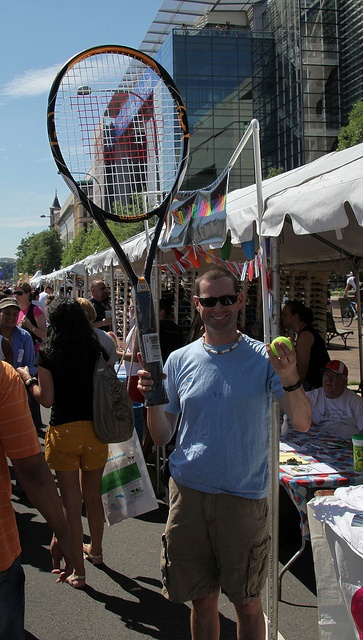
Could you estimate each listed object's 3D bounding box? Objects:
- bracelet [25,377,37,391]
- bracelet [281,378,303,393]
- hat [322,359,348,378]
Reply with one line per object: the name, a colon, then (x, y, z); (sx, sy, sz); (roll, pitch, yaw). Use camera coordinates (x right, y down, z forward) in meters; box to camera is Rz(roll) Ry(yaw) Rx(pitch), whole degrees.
bracelet: (-0.908, 0.400, 3.099); (0.075, 0.069, 0.032); (-20, -38, 42)
bracelet: (0.364, 0.224, 1.679); (0.057, 0.044, 0.052); (-1, -2, 12)
hat: (1.255, 0.427, 4.074); (0.182, 0.103, 0.117); (32, -12, -36)
